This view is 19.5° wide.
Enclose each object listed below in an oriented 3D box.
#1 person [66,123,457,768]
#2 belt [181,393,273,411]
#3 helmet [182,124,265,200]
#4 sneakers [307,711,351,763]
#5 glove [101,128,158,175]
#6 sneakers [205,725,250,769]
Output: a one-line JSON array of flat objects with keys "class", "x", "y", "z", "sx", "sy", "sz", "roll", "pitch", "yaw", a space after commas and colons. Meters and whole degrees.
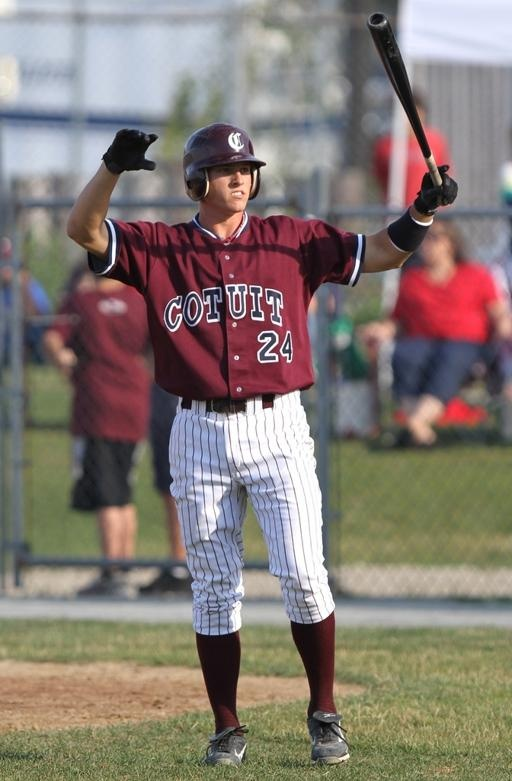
[{"class": "person", "x": -0.029, "y": 0.138, "z": 4.239, "sx": 1.033, "sy": 1.776, "sz": 0.506, "roll": -1, "pitch": 8, "yaw": -8}, {"class": "belt", "x": -0.060, "y": 0.038, "z": 4.189, "sx": 0.203, "sy": 0.053, "sz": 0.037, "roll": -1, "pitch": 8, "yaw": -8}, {"class": "helmet", "x": -0.129, "y": -0.656, "z": 4.328, "sx": 0.189, "sy": 0.203, "sz": 0.250, "roll": 1, "pitch": -5, "yaw": -28}, {"class": "sneakers", "x": 0.195, "y": 0.974, "z": 4.193, "sx": 0.120, "sy": 0.125, "sz": 0.131, "roll": 0, "pitch": 8, "yaw": 2}, {"class": "glove", "x": -0.373, "y": -0.656, "z": 4.111, "sx": 0.152, "sy": 0.124, "sz": 0.186, "roll": -1, "pitch": 8, "yaw": -5}, {"class": "sneakers", "x": -0.096, "y": 1.003, "z": 4.191, "sx": 0.094, "sy": 0.091, "sz": 0.234, "roll": -1, "pitch": -3, "yaw": 2}]
